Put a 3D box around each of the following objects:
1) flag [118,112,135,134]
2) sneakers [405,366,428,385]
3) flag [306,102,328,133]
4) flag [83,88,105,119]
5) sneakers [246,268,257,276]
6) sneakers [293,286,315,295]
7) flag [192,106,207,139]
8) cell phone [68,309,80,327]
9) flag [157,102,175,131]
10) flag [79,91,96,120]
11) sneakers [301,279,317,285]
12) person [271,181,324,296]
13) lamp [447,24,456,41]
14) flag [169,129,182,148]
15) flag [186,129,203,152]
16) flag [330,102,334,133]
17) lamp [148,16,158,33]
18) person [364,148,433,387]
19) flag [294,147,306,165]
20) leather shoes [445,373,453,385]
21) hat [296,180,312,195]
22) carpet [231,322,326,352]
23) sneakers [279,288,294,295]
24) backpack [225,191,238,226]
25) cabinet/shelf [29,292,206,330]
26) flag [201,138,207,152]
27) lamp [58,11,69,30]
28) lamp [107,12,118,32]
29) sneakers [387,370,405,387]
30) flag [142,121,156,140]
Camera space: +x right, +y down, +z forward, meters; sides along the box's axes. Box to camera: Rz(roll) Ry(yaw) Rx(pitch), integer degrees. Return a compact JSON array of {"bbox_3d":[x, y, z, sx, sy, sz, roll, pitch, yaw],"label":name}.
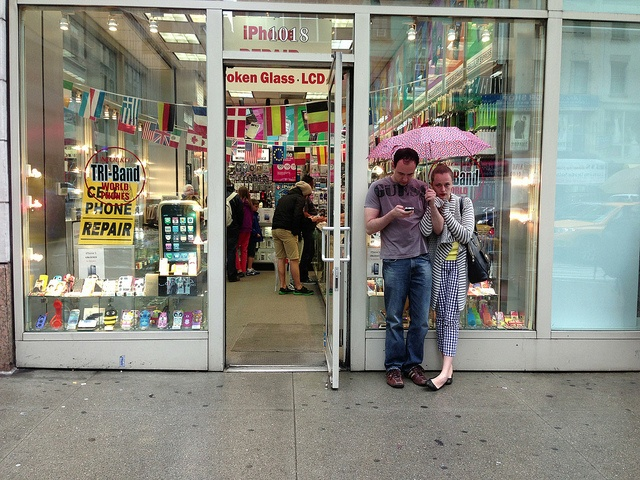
[{"bbox_3d":[-1.889,-1.147,5.588,0.166,0.170,0.053,2,8,7],"label":"flag"},{"bbox_3d":[0.914,1.283,5.384,0.092,0.121,0.265,3,0,-21],"label":"sneakers"},{"bbox_3d":[-0.023,-1.420,6.474,0.224,0.341,0.504,0,9,-2],"label":"flag"},{"bbox_3d":[-2.213,-1.354,5.582,0.249,0.376,0.018,4,2,0],"label":"flag"},{"bbox_3d":[-1.340,0.625,11.222,0.226,0.106,0.086,0,13,-11],"label":"sneakers"},{"bbox_3d":[-0.230,0.801,9.105,0.307,0.147,0.127,0,0,-6],"label":"sneakers"},{"bbox_3d":[-1.156,-1.171,5.516,0.268,0.386,0.027,5,10,36],"label":"flag"},{"bbox_3d":[-2.404,0.773,5.569,0.111,0.177,0.082,0,8,-7],"label":"cell phone"},{"bbox_3d":[-1.505,-1.223,5.598,0.171,0.280,0.030,2,8,11],"label":"flag"},{"bbox_3d":[-2.272,-1.353,5.579,0.140,0.288,0.061,1,8,2],"label":"flag"},{"bbox_3d":[-0.187,0.726,10.097,0.238,0.108,0.092,-1,0,3],"label":"sneakers"},{"bbox_3d":[-0.388,-0.041,9.122,0.596,1.787,0.953,2,8,9],"label":"person"},{"bbox_3d":[1.306,-2.060,5.588,0.104,0.107,0.104,-1,3,-40],"label":"lamp"},{"bbox_3d":[-1.404,-1.014,5.588,0.123,0.259,0.011,12,8,15],"label":"flag"},{"bbox_3d":[-1.208,-0.991,5.542,0.198,0.239,0.016,2,5,14],"label":"flag"},{"bbox_3d":[0.117,-1.222,5.619,0.026,0.306,0.116,-2,9,-16],"label":"flag"},{"bbox_3d":[-1.600,-2.094,5.492,0.076,0.116,0.109,0,-1,-6],"label":"lamp"},{"bbox_3d":[0.722,0.238,5.303,0.631,2.181,0.474,2,8,12],"label":"person"},{"bbox_3d":[-0.499,-2.128,14.266,0.290,0.604,0.306,-5,-17,14],"label":"flag"},{"bbox_3d":[1.217,1.310,5.352,0.042,0.056,0.133,4,11,16],"label":"leather shoes"},{"bbox_3d":[-0.285,-0.875,9.278,0.185,0.239,0.245,-11,31,-40],"label":"hat"},{"bbox_3d":[-0.454,1.131,6.624,0.999,0.052,1.071,1,10,-1],"label":"carpet"},{"bbox_3d":[-0.529,0.801,9.081,0.221,0.106,0.089,-2,5,-22],"label":"sneakers"},{"bbox_3d":[-1.522,-0.542,9.945,0.165,0.573,0.714,0,9,-7],"label":"backpack"},{"bbox_3d":[-2.001,0.708,5.597,1.662,0.318,0.140,0,8,-3],"label":"cabinet/shelf"},{"bbox_3d":[-1.110,-0.935,5.502,0.077,0.133,0.029,4,9,23],"label":"flag"},{"bbox_3d":[-2.461,-2.144,5.503,0.106,0.187,0.113,0,0,3],"label":"lamp"},{"bbox_3d":[-1.995,-2.136,5.505,0.101,0.140,0.106,0,1,14],"label":"lamp"},{"bbox_3d":[0.701,1.283,5.289,0.164,0.123,0.174,2,9,8],"label":"sneakers"},{"bbox_3d":[-1.680,-1.089,5.608,0.168,0.254,0.016,1,2,3],"label":"flag"}]
